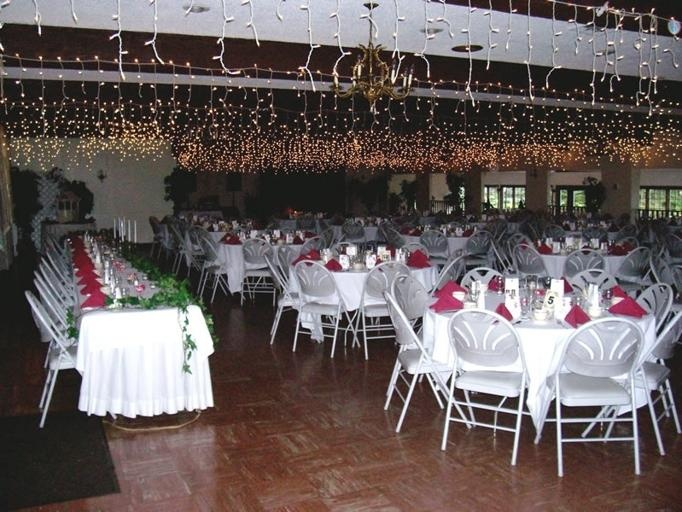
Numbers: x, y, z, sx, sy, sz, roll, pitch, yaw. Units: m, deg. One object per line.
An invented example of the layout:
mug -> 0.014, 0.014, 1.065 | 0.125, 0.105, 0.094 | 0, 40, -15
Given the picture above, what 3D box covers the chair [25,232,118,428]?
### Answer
chair -> -2.551, 0.705, 5.056 | 0.334, 0.601, 1.490 | -2, 24, -20
